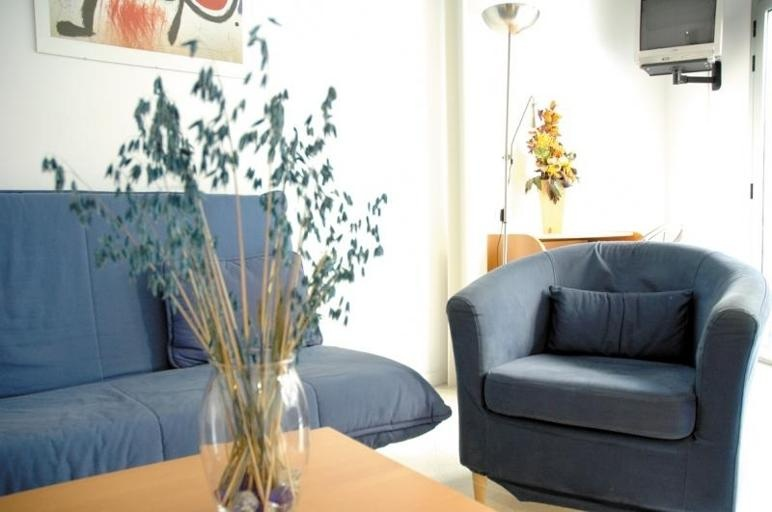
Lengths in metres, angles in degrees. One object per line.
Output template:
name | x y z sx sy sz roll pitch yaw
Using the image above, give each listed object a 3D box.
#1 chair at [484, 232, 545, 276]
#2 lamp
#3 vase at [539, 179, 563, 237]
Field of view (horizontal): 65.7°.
chair | 0.843 0.069 4.000 0.237 0.303 0.416 5 -7 -33
lamp | 0.863 -0.788 4.081 0.345 1.676 0.717 1 8 18
vase | 1.169 -0.343 4.201 0.166 0.366 0.148 0 7 13
